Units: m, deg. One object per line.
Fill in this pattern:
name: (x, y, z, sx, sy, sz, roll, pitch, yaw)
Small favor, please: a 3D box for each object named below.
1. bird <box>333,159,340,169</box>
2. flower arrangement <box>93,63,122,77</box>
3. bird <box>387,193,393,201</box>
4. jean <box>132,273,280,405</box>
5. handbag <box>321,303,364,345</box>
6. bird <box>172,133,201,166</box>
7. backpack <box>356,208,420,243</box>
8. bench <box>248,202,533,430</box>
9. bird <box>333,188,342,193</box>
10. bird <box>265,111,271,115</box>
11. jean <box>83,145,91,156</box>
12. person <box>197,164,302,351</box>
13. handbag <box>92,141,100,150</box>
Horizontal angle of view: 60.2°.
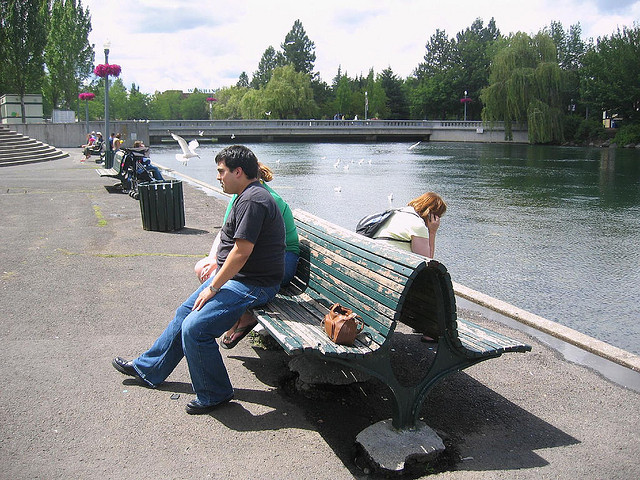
bird: (0.983, -4.427, 32.443, 0.492, 0.545, 0.237, 8, -30, 8)
flower arrangement: (-8.728, -6.994, 22.547, 0.961, 0.520, 1.381, -5, 16, -23)
bird: (2.100, -1.269, 16.168, 0.059, 0.271, 0.267, 12, 4, 12)
jean: (-0.998, 0.765, 4.708, 0.903, 0.923, 0.778, 9, 16, 29)
handbag: (0.184, 0.613, 4.186, 0.227, 0.284, 0.292, 0, 12, -23)
bird: (-4.333, -2.829, 18.202, 0.623, 0.639, 1.381, -2, -18, 7)
backpack: (0.640, -0.167, 5.564, 0.663, 0.283, 0.311, 12, 18, 37)
bench: (0.535, 0.027, 4.435, 1.477, 1.079, 2.417, 3, 6, -23)
bird: (0.624, -1.769, 19.555, 0.275, 0.113, 0.290, 1, 1, 22)
bird: (-8.536, -20.871, 90.637, 0.765, 0.594, 0.376, -15, 38, -39)
jean: (-13.222, -5.039, 31.181, 0.301, 0.626, 1.452, -5, 16, -22)
person: (-0.683, 0.072, 5.411, 0.965, 1.845, 0.708, -9, 2, -9)
handbag: (-12.968, -5.472, 31.776, 0.445, 0.454, 0.962, -4, 11, -38)
